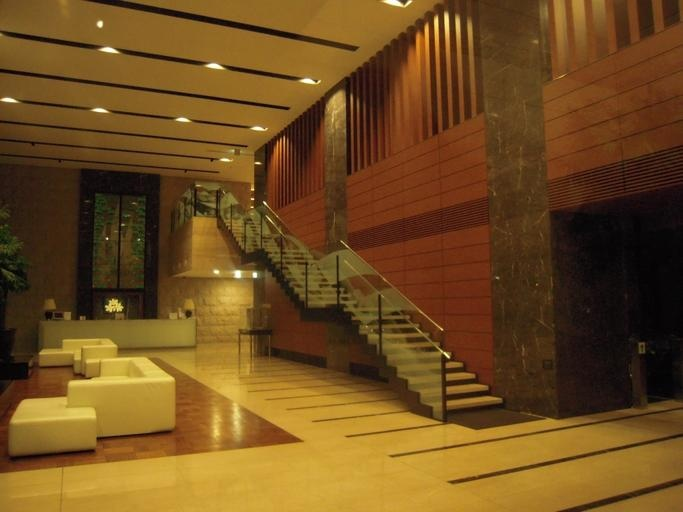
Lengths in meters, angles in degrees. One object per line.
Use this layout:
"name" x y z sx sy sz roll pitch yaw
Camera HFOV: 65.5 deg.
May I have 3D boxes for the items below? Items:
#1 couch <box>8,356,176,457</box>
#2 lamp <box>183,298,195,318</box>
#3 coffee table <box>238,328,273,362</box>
"couch" -3.419 1.970 7.231 1.891 0.756 2.004 2 -3 -33
"lamp" -5.962 2.019 20.810 0.439 0.721 1.035 1 -2 -17
"coffee table" -2.565 2.676 16.005 1.123 1.144 1.078 5 -8 -33
